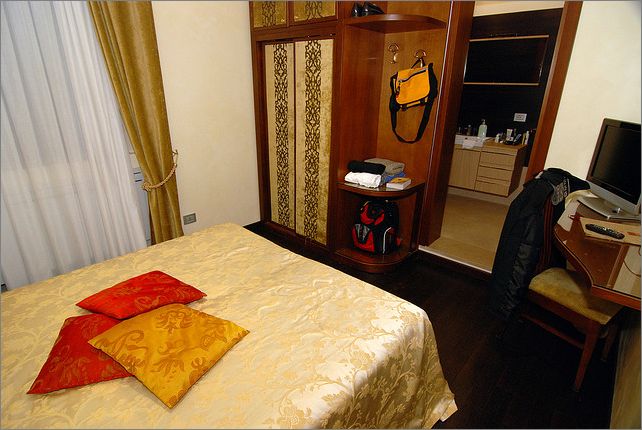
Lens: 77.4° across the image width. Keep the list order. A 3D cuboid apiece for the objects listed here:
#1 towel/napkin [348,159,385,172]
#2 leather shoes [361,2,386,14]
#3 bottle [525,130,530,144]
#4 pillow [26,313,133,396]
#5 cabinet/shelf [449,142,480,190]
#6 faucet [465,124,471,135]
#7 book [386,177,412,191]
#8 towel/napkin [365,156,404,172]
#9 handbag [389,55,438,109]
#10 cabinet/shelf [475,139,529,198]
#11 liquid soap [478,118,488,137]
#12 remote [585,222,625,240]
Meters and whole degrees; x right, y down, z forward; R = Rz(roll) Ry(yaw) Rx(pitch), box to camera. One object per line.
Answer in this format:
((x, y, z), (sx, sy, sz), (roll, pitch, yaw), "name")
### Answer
((0.482, -0.509, 4.262), (0.399, 0.123, 0.148), (14, 28, 26), "towel/napkin")
((0.501, -1.987, 3.845), (0.200, 0.117, 0.200), (3, 25, 3), "leather shoes")
((2.960, -1.110, 5.694), (0.075, 0.177, 0.038), (6, 12, 17), "bottle")
((-1.497, 0.858, 2.530), (0.565, 0.258, 0.407), (-4, 25, -11), "pillow")
((2.140, -0.744, 5.865), (0.393, 0.767, 0.405), (19, 34, 34), "cabinet/shelf")
((2.279, -1.319, 6.150), (0.092, 0.150, 0.109), (-17, 33, -23), "faucet")
((0.817, -0.333, 4.167), (0.278, 0.083, 0.189), (-14, 29, -31), "book")
((0.749, -0.567, 4.300), (0.243, 0.075, 0.238), (-18, 27, -36), "towel/napkin")
((0.979, -1.363, 4.103), (0.464, 0.506, 0.286), (6, 36, 46), "handbag")
((2.672, -0.719, 5.910), (0.504, 0.747, 0.495), (23, 32, 39), "cabinet/shelf")
((2.421, -1.285, 5.913), (0.137, 0.241, 0.237), (12, 27, 24), "liquid soap")
((2.171, 0.098, 3.015), (0.107, 0.036, 0.195), (-4, 23, -38), "remote")
